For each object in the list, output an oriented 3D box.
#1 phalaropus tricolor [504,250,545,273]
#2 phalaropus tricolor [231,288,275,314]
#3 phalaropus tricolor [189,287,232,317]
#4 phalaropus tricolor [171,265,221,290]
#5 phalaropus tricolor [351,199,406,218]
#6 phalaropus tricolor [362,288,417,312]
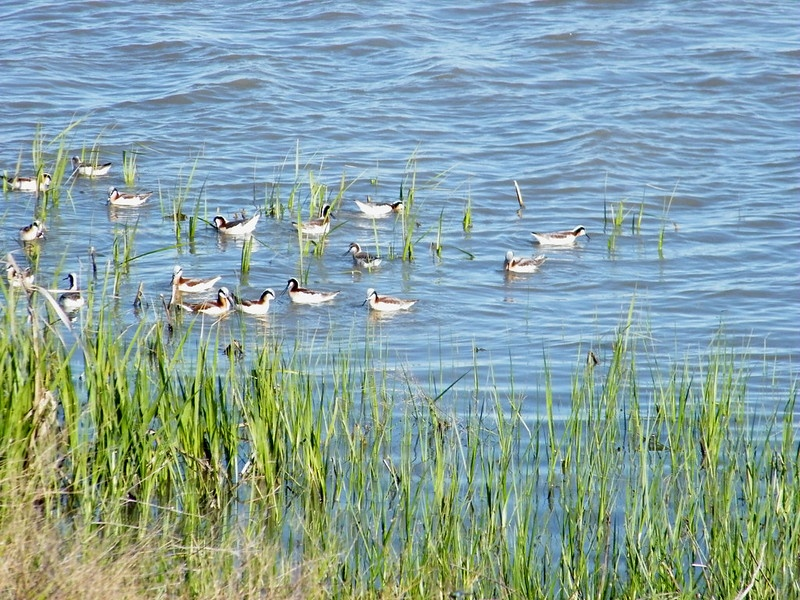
[{"bbox_3d":[2.690,-0.813,22.155,0.801,0.433,0.547,-6,103,-18],"label":"phalaropus tricolor"},{"bbox_3d":[-2.797,0.007,19.896,0.901,0.403,0.617,9,101,1],"label":"phalaropus tricolor"},{"bbox_3d":[-3.644,0.055,19.638,0.745,0.520,0.421,-3,22,-17],"label":"phalaropus tricolor"},{"bbox_3d":[-4.106,-0.385,20.698,0.331,0.519,1.227,36,31,32],"label":"phalaropus tricolor"},{"bbox_3d":[-0.552,-2.250,25.451,1.334,0.551,0.473,5,21,-4],"label":"phalaropus tricolor"},{"bbox_3d":[-0.214,0.003,20.087,1.089,0.389,0.627,-5,90,7],"label":"phalaropus tricolor"}]
